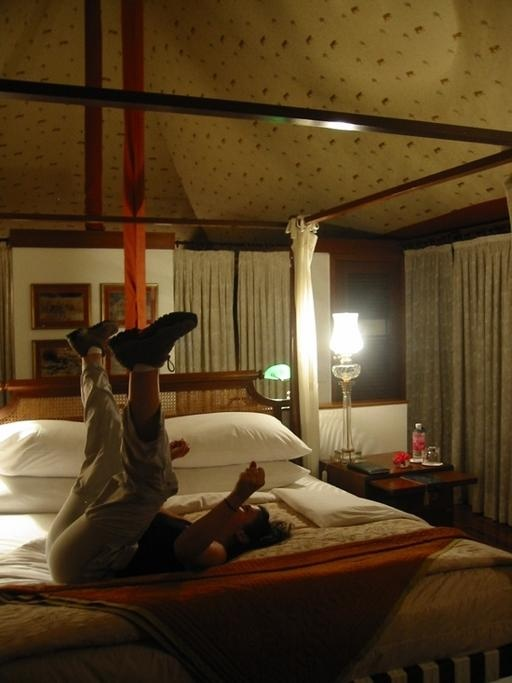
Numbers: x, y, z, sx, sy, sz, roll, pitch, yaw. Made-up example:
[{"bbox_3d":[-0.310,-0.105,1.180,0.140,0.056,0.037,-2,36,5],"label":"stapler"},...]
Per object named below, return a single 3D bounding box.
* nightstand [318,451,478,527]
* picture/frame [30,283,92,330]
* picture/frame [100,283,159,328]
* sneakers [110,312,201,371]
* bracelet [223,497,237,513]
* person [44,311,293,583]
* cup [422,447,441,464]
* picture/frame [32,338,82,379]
[{"bbox_3d":[0.754,0.767,3.303,0.456,0.374,0.611,-3,7,-21],"label":"nightstand"},{"bbox_3d":[-1.146,-0.211,3.371,0.327,0.246,0.021,-1,-2,-17],"label":"picture/frame"},{"bbox_3d":[-0.734,-0.210,3.306,0.361,0.320,0.024,0,1,-14],"label":"picture/frame"},{"bbox_3d":[-0.270,0.004,1.578,0.249,0.116,0.124,-23,30,-6],"label":"sneakers"},{"bbox_3d":[-0.068,0.455,1.590,0.035,0.011,0.036,40,-4,33],"label":"bracelet"},{"bbox_3d":[-0.223,0.290,1.765,0.421,0.701,0.516,-1,2,34],"label":"person"},{"bbox_3d":[1.089,0.702,3.535,0.121,0.107,0.087,-1,2,-31],"label":"cup"},{"bbox_3d":[-1.132,0.096,3.260,0.252,0.163,0.033,-1,2,-15],"label":"picture/frame"}]
